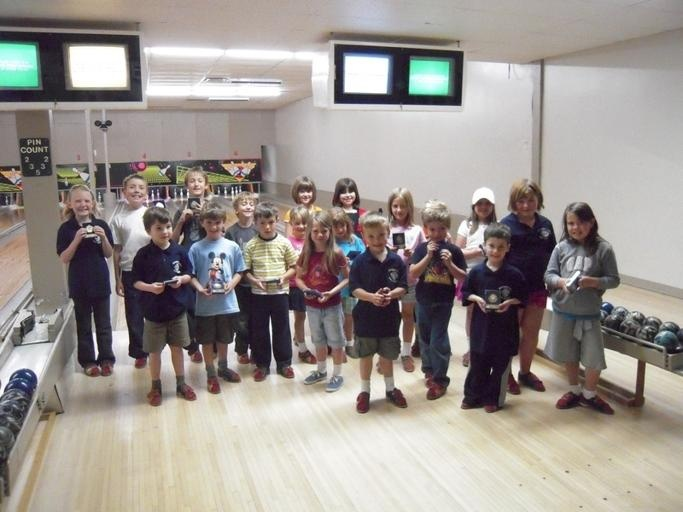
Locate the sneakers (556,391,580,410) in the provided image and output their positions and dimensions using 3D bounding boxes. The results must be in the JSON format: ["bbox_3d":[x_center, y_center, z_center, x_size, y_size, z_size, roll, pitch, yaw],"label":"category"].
[{"bbox_3d":[1.670,1.064,3.575,0.233,0.099,0.085,-9,5,-27],"label":"sneakers"}]

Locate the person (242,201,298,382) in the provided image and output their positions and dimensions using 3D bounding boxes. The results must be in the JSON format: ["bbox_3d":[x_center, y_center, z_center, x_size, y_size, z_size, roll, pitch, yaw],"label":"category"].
[{"bbox_3d":[-0.578,0.334,4.059,0.451,1.543,0.456,-1,13,-11],"label":"person"}]

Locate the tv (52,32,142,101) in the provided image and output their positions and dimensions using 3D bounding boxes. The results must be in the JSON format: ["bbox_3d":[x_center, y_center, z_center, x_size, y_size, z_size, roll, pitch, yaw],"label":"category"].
[{"bbox_3d":[-1.934,-1.573,3.814,0.644,0.560,0.353,-16,55,-35],"label":"tv"}]

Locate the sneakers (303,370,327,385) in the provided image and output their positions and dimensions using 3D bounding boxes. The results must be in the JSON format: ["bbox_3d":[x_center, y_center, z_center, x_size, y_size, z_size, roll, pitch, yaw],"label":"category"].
[{"bbox_3d":[-0.214,1.011,4.028,0.193,0.083,0.090,-2,3,-23],"label":"sneakers"}]

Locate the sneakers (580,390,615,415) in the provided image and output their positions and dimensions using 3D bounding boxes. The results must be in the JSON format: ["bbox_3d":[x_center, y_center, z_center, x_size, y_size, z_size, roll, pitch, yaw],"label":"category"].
[{"bbox_3d":[1.837,1.058,3.514,0.090,0.110,0.245,-21,32,-39],"label":"sneakers"}]

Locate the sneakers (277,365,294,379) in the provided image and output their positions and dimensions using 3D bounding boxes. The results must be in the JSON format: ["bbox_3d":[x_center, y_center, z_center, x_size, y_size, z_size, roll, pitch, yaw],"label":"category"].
[{"bbox_3d":[-0.478,0.990,4.105,0.064,0.079,0.177,0,1,-33],"label":"sneakers"}]

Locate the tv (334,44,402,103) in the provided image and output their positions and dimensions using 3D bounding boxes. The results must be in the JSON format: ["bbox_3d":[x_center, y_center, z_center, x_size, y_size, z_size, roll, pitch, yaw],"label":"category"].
[{"bbox_3d":[0.228,-1.614,4.289,0.608,0.500,0.040,-4,12,-16],"label":"tv"}]

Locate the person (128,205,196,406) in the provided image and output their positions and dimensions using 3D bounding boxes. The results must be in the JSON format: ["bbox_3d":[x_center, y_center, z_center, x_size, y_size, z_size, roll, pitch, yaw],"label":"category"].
[{"bbox_3d":[-1.349,0.379,3.705,0.431,1.480,0.375,-6,12,-24],"label":"person"}]

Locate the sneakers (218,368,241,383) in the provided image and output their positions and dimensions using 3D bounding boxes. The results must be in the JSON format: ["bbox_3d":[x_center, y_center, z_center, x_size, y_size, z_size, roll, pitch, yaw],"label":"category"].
[{"bbox_3d":[-0.937,1.004,4.029,0.187,0.080,0.093,7,11,28],"label":"sneakers"}]

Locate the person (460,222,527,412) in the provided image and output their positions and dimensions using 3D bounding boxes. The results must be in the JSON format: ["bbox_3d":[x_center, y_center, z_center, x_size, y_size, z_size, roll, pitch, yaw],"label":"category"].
[{"bbox_3d":[1.093,0.450,3.507,0.436,1.341,0.345,4,12,22],"label":"person"}]

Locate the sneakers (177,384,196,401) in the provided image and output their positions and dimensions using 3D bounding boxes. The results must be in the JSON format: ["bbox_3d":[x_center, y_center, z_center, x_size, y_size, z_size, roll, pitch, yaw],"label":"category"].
[{"bbox_3d":[-1.215,1.069,3.778,0.073,0.076,0.199,-1,3,-38],"label":"sneakers"}]

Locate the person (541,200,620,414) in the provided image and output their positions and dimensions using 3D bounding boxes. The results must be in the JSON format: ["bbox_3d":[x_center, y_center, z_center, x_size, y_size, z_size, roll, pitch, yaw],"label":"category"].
[{"bbox_3d":[1.731,0.360,3.489,0.493,1.475,0.504,2,12,12],"label":"person"}]

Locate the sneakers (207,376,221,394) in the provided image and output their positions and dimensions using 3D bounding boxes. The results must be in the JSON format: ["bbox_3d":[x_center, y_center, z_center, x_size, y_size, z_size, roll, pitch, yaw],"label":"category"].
[{"bbox_3d":[-1.026,1.038,3.879,0.105,0.098,0.154,-4,12,-17],"label":"sneakers"}]

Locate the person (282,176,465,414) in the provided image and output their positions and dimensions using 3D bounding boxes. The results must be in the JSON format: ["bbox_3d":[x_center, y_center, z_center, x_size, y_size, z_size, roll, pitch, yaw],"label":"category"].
[{"bbox_3d":[0.452,0.382,3.615,0.765,1.468,0.344,-4,12,-16],"label":"person"}]

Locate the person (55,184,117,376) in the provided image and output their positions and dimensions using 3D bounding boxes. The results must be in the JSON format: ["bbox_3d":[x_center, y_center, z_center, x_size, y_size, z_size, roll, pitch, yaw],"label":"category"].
[{"bbox_3d":[-2.150,0.213,4.123,0.422,1.612,0.400,-6,12,-25],"label":"person"}]

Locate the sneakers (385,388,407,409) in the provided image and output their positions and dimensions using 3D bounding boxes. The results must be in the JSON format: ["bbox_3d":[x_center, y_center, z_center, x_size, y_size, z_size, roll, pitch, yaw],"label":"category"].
[{"bbox_3d":[0.412,1.078,3.627,0.071,0.091,0.205,-6,0,-21],"label":"sneakers"}]

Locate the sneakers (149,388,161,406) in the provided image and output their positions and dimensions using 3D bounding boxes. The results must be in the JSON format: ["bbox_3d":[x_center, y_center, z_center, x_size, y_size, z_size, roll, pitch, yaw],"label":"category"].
[{"bbox_3d":[-1.430,1.086,3.689,0.061,0.055,0.132,2,19,-16],"label":"sneakers"}]

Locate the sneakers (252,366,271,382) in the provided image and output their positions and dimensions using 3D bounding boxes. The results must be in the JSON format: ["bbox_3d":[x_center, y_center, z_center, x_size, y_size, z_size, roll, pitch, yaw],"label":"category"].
[{"bbox_3d":[-0.683,0.989,4.022,0.061,0.064,0.148,2,12,1],"label":"sneakers"}]
